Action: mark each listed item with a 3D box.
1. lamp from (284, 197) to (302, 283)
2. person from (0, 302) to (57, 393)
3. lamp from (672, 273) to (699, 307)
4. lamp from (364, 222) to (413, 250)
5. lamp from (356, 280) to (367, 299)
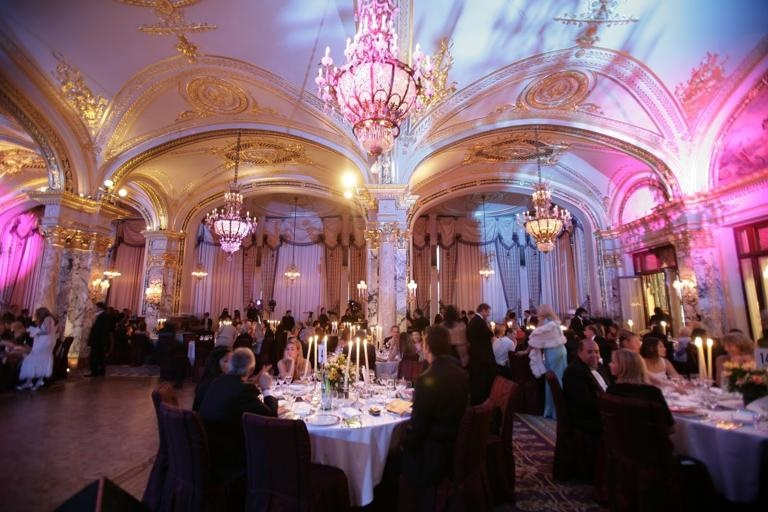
[{"bbox_3d":[-3.779,-0.440,18.633,0.614,2.991,1.025,1,-10,-12],"label":"lamp"},{"bbox_3d":[-7.711,2.077,9.815,0.840,2.148,0.972,-23,-29,33],"label":"person"},{"bbox_3d":[7.611,0.861,11.400,0.714,0.725,0.605,-1,-17,13],"label":"lamp"},{"bbox_3d":[0.091,-0.545,11.643,0.826,0.912,1.619,1,-10,-14],"label":"lamp"},{"bbox_3d":[-0.871,1.297,17.950,0.375,0.810,1.065,0,-10,-7],"label":"lamp"}]
